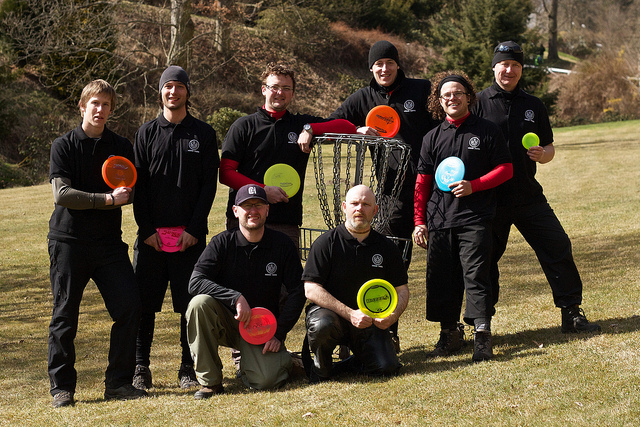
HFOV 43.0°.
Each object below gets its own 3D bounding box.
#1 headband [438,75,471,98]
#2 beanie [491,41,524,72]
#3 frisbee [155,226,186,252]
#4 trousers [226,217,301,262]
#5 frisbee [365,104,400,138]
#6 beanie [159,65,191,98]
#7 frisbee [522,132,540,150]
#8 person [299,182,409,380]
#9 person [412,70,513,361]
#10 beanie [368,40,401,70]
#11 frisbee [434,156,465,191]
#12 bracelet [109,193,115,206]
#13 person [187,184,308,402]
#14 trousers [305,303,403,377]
[{"bbox_3d":[1.855,-1.795,11.208,0.435,0.259,0.226,0,5,7],"label":"headband"},{"bbox_3d":[2.671,-2.258,11.613,0.395,0.309,0.389,3,5,-7],"label":"beanie"},{"bbox_3d":[-2.076,0.329,11.154,0.382,0.509,0.124,8,-39,-7],"label":"frisbee"},{"bbox_3d":[-0.725,0.393,11.696,1.017,0.692,0.570,2,-5,0],"label":"trousers"},{"bbox_3d":[0.898,-1.321,11.522,0.364,0.471,0.357,-4,7,-39],"label":"frisbee"},{"bbox_3d":[-2.009,-1.889,11.313,0.374,0.309,0.383,2,11,1],"label":"beanie"},{"bbox_3d":[2.977,-1.034,11.497,0.232,0.240,0.125,-1,5,-5],"label":"frisbee"},{"bbox_3d":[0.458,0.932,10.850,1.390,2.588,0.410,0,5,2],"label":"person"},{"bbox_3d":[1.913,0.014,11.224,1.222,3.963,0.703,3,6,34],"label":"person"},{"bbox_3d":[0.914,-2.336,11.813,0.378,0.298,0.382,0,10,1],"label":"beanie"},{"bbox_3d":[1.756,-0.542,11.074,0.088,0.435,0.436,17,28,-51],"label":"frisbee"},{"bbox_3d":[-2.745,-0.180,10.745,0.055,0.160,0.045,-1,5,-13],"label":"bracelet"},{"bbox_3d":[-1.001,1.004,10.917,1.555,2.767,0.665,-1,5,-9],"label":"person"},{"bbox_3d":[0.350,1.699,11.230,1.288,0.607,1.598,6,21,-17],"label":"trousers"}]
